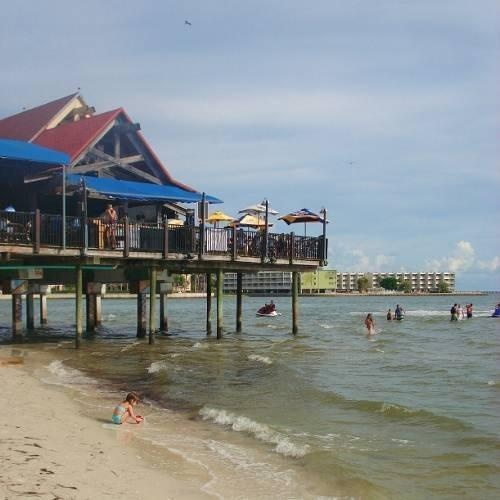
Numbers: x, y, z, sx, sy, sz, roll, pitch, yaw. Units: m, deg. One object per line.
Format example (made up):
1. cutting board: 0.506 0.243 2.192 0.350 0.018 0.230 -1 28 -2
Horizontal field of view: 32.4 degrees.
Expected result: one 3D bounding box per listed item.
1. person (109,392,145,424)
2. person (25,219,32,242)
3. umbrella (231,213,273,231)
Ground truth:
1. person: -3.084 3.967 21.648 0.903 0.779 0.683 7 -2 -34
2. person: -7.156 -0.563 27.831 0.245 0.677 0.273 1 -2 -25
3. umbrella: 0.035 -1.131 36.081 2.014 0.538 1.759 -1 -3 3
